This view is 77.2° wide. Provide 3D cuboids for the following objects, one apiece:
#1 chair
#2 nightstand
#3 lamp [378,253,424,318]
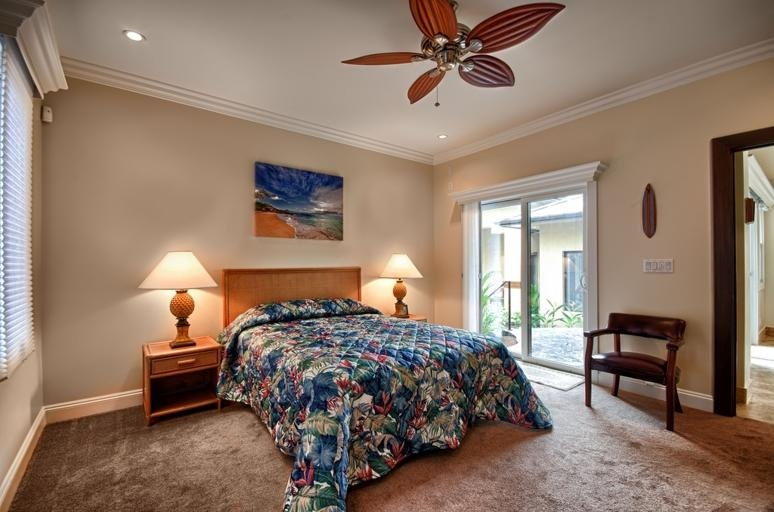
[{"bbox_3d":[2.613,1.179,5.169,0.871,1.103,0.770,3,2,35],"label":"chair"},{"bbox_3d":[-2.253,1.314,5.266,0.757,0.751,0.613,-2,7,-33],"label":"nightstand"},{"bbox_3d":[0.186,0.438,6.855,0.592,0.834,0.603,-3,-9,9],"label":"lamp"}]
